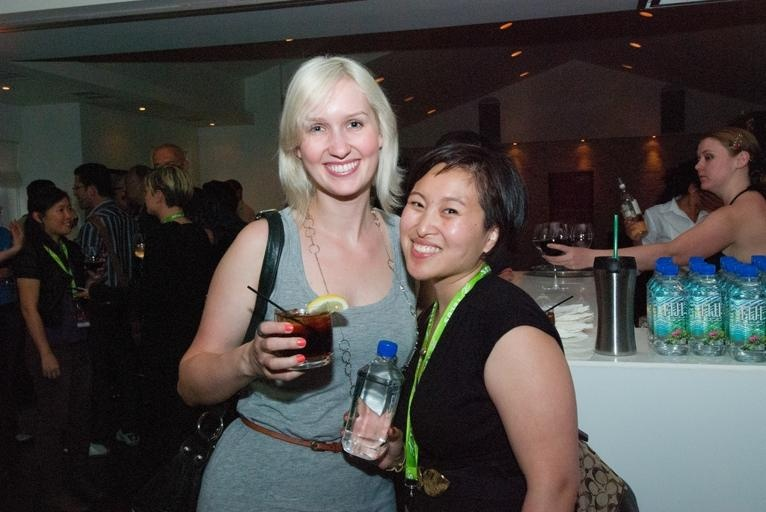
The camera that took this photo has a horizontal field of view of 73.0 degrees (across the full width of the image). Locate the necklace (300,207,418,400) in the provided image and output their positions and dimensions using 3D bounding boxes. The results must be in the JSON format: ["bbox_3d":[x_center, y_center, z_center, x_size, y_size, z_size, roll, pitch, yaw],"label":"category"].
[{"bbox_3d":[-0.140,0.136,1.807,0.360,0.605,0.041,-15,-12,0],"label":"necklace"}]

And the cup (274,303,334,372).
[{"bbox_3d":[-0.204,0.230,1.485,0.174,0.166,0.178,-3,-2,0],"label":"cup"}]

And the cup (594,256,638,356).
[{"bbox_3d":[1.014,0.208,2.253,0.160,0.422,0.191,0,2,26],"label":"cup"}]

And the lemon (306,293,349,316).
[{"bbox_3d":[-0.167,0.151,1.598,0.131,0.056,0.039,4,-13,-45],"label":"lemon"}]

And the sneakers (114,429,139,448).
[{"bbox_3d":[-1.809,1.275,3.672,0.063,0.116,0.155,-26,30,-30],"label":"sneakers"}]
